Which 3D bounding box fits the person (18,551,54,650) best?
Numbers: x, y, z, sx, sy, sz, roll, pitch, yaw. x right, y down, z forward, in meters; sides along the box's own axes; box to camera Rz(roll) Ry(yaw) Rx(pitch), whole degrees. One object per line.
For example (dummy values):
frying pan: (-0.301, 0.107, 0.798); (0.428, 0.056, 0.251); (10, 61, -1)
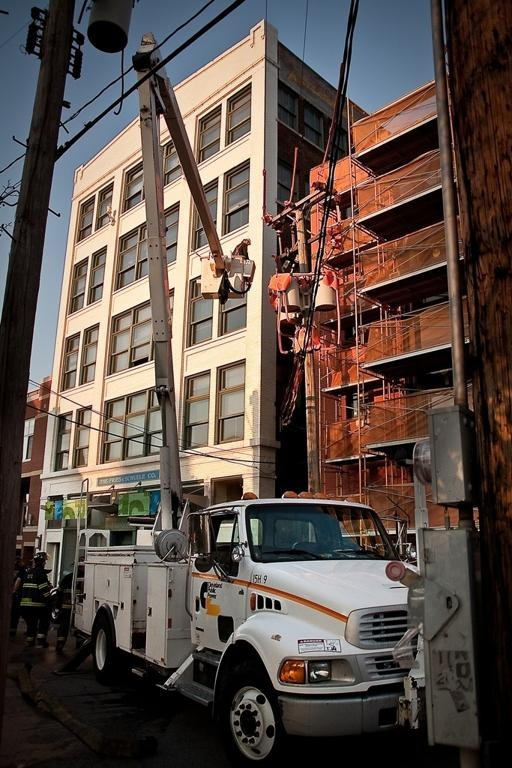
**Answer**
person: (-4.743, 4.672, 12.448); (0.628, 1.936, 1.108); (5, -15, -19)
